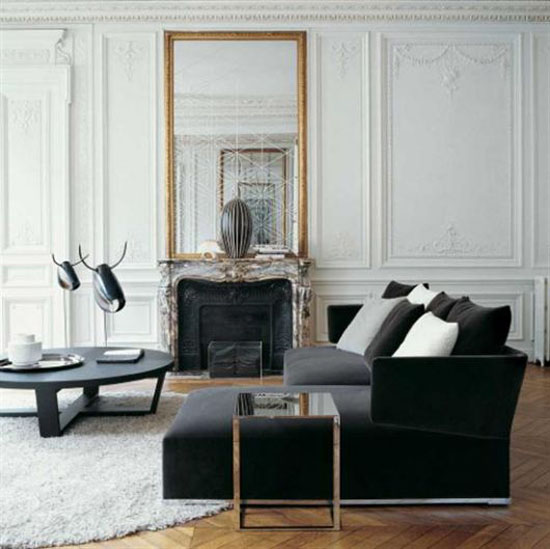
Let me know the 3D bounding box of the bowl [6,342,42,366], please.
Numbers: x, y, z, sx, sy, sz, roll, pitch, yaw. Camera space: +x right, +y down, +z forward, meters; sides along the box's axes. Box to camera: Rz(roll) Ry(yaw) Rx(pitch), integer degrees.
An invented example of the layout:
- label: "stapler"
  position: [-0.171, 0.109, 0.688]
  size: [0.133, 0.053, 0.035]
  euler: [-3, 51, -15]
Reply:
- label: "bowl"
  position: [-1.554, 0.484, 4.474]
  size: [0.169, 0.108, 0.158]
  euler: [1, -2, 0]

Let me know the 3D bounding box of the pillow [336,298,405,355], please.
- label: "pillow"
  position: [0.596, 0.330, 4.700]
  size: [0.118, 0.365, 0.380]
  euler: [32, 5, -6]

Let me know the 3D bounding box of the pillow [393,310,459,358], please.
- label: "pillow"
  position: [0.794, 0.221, 3.803]
  size: [0.229, 0.244, 0.397]
  euler: [0, 10, -9]

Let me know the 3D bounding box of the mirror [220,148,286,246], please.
- label: "mirror"
  position: [-0.184, -0.704, 6.310]
  size: [0.581, 0.764, 0.169]
  euler: [0, 14, -4]

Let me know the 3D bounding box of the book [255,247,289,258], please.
- label: "book"
  position: [-0.042, -0.193, 6.156]
  size: [0.263, 0.072, 0.238]
  euler: [3, 12, 8]

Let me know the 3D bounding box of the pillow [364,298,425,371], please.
- label: "pillow"
  position: [0.744, 0.329, 4.152]
  size: [0.120, 0.374, 0.376]
  euler: [25, 34, -2]

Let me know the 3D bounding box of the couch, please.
- label: "couch"
  position: [0.420, 0.779, 4.138]
  size: [1.968, 0.614, 1.459]
  euler: [-3, -1, -1]
